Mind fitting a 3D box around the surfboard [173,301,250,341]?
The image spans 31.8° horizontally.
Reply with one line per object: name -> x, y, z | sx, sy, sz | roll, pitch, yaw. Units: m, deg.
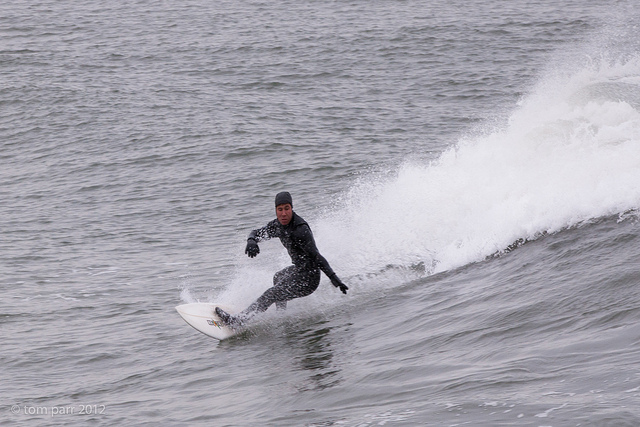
surfboard -> -2.595, 2.781, 29.985 | 1.670, 1.044, 1.337 | -28, 62, -15
